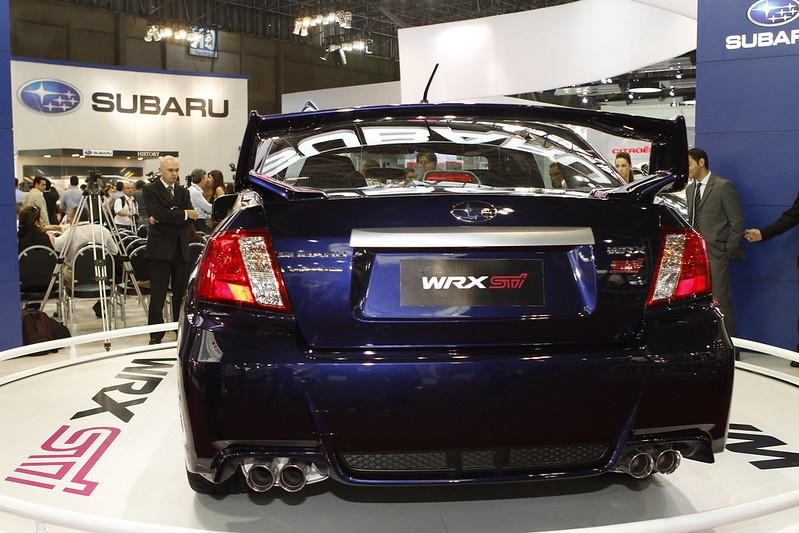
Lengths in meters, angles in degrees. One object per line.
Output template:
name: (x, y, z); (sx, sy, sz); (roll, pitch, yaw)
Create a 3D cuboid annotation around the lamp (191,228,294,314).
lamp: (-0.555, 0.008, 1.899); (0.236, 0.162, 0.367); (0, 15, -16)

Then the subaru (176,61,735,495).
subaru: (0.079, -0.208, 3.554); (2.304, 1.420, 3.565); (-2, 11, -4)
